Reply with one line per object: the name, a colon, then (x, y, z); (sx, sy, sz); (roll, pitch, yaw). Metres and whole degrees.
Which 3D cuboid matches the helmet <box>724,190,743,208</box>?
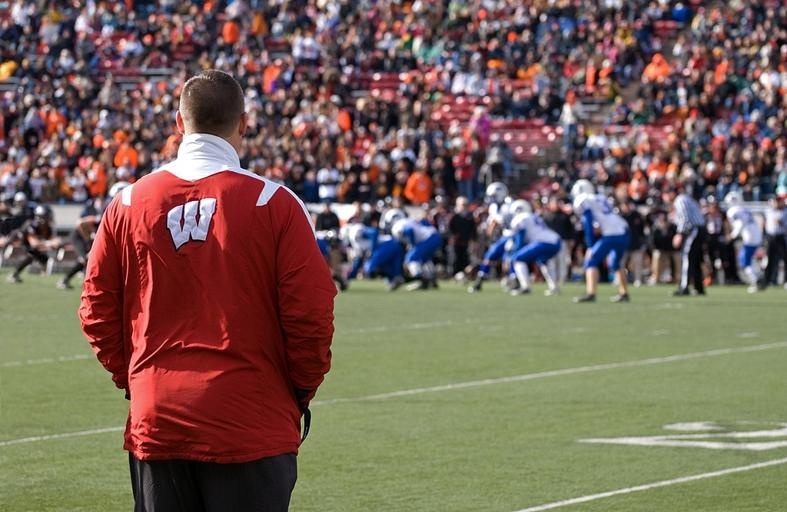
helmet: (5.848, -0.964, 23.169); (0.342, 0.396, 0.349); (-1, -3, 19)
